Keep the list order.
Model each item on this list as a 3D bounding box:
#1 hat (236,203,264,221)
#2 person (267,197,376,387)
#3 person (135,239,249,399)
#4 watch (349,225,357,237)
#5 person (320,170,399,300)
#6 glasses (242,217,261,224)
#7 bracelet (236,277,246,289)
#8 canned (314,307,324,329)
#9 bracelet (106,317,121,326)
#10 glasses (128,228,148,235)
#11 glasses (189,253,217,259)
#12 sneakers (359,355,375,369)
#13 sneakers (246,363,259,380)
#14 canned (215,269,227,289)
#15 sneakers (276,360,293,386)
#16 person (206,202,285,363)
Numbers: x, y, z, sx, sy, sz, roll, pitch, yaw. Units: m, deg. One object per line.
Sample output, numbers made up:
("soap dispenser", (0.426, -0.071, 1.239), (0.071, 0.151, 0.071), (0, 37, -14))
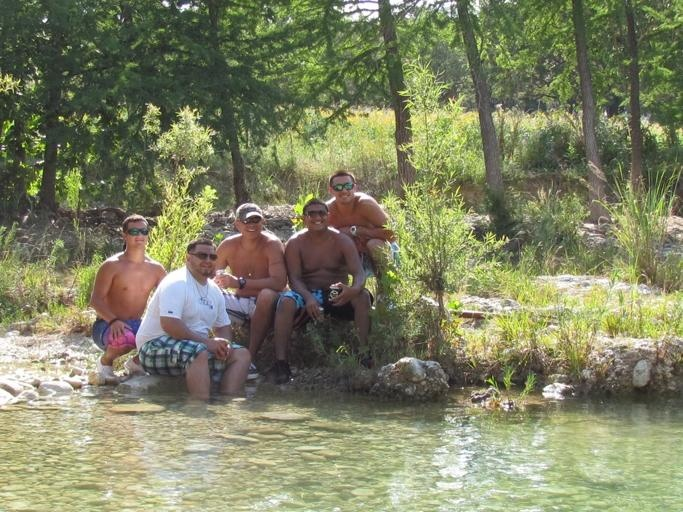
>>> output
("hat", (-1.133, -0.537, 10.013), (0.300, 0.239, 0.326), (-2, -3, -9))
("person", (-0.245, 0.394, 9.962), (1.185, 2.149, 0.585), (-2, -2, -2))
("person", (-1.665, 0.839, 9.491), (1.012, 2.172, 1.173), (6, -9, -43))
("watch", (0.143, -0.320, 10.425), (0.067, 0.110, 0.036), (-1, -3, 25))
("person", (0.103, -0.272, 10.676), (1.024, 1.713, 1.009), (-6, 10, 16))
("glasses", (-1.070, -0.426, 9.882), (0.200, 0.071, 0.038), (-1, -2, -17))
("bracelet", (-1.213, 0.310, 9.945), (0.076, 0.141, 0.117), (0, -4, -13))
("canned", (-0.258, 0.741, 10.059), (0.065, 0.234, 0.152), (4, -8, 43))
("bracelet", (-2.666, 0.755, 9.634), (0.083, 0.024, 0.091), (-39, 5, 14))
("glasses", (-2.382, -0.285, 9.676), (0.229, 0.086, 0.112), (-1, -3, -24))
("glasses", (-1.534, 0.000, 9.234), (0.262, 0.073, 0.109), (-1, -3, -31))
("sneakers", (0.292, 1.253, 9.908), (0.141, 0.162, 0.270), (-4, -11, 10))
("sneakers", (-1.066, 1.356, 9.733), (0.111, 0.174, 0.374), (1, -17, -4))
("canned", (-1.452, 0.255, 9.943), (0.160, 0.309, 0.169), (0, -5, -1))
("sneakers", (-0.674, 1.346, 9.699), (0.209, 0.270, 0.167), (-1, -3, -20))
("person", (-1.149, 0.339, 9.997), (1.024, 2.019, 1.097), (0, 0, 27))
